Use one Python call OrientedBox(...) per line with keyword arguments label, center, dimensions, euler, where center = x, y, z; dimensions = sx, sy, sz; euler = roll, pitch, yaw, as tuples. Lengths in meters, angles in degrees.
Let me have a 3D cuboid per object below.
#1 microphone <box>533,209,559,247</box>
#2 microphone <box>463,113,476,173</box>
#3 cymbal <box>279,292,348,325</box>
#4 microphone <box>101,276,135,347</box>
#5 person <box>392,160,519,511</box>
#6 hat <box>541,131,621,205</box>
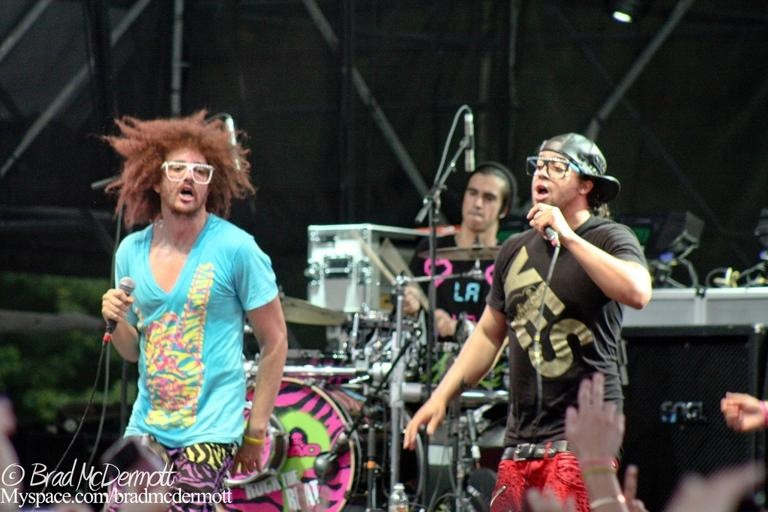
OrientedBox(label="microphone", center=(1.158, -0.177, 8.977), dimensions=(0.056, 0.076, 0.235), euler=(9, 35, -26))
OrientedBox(label="microphone", center=(0.690, -0.919, 10.275), dimensions=(0.116, 0.464, 0.109), euler=(0, 9, 12))
OrientedBox(label="cymbal", center=(-0.623, 0.492, 10.800), dimensions=(0.436, 0.299, 0.674), euler=(4, 3, -31))
OrientedBox(label="microphone", center=(-1.936, 0.424, 9.045), dimensions=(0.175, 0.564, 0.156), euler=(23, 1, 14))
OrientedBox(label="person", center=(0.657, 0.609, 11.542), dimensions=(1.147, 2.792, 0.904), euler=(0, 6, 8))
OrientedBox(label="hat", center=(1.479, -0.675, 9.314), dimensions=(0.521, 0.255, 0.541), euler=(38, -21, 0))
